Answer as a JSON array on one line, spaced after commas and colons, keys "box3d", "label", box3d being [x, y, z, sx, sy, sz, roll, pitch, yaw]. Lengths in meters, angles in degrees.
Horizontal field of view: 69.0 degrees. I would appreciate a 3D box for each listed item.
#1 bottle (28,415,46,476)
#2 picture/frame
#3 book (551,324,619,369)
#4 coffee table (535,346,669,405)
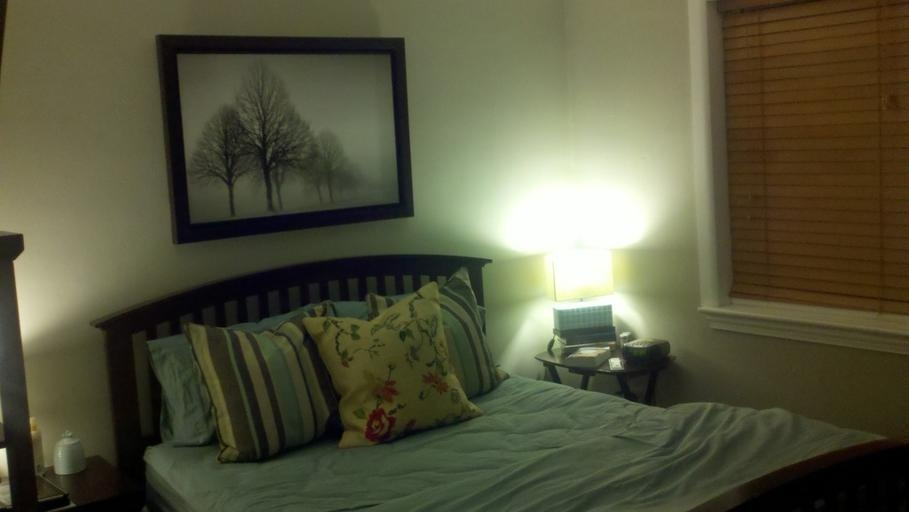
[{"box3d": [-2.176, 0.985, 3.464, 0.046, 0.255, 0.118, -9, 5, -32], "label": "bottle"}, {"box3d": [-1.056, -0.698, 3.910, 1.331, 0.911, 0.058, -9, 10, -22], "label": "picture/frame"}, {"box3d": [0.923, 0.610, 4.525, 0.391, 0.170, 0.273, -6, 10, -26], "label": "book"}, {"box3d": [1.075, 0.765, 4.482, 0.503, 0.409, 0.596, -7, 10, -41], "label": "coffee table"}]
